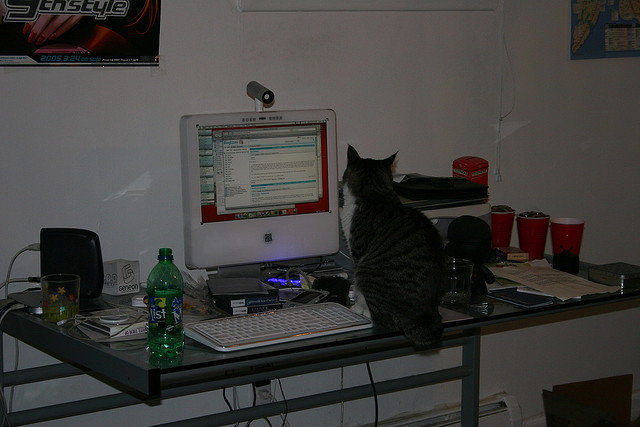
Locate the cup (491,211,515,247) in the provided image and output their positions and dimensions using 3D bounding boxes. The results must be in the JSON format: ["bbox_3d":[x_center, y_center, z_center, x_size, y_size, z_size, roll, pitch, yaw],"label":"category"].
[{"bbox_3d":[0.876,0.076,2.773,0.151,0.165,0.137,0,2,-7],"label":"cup"}]

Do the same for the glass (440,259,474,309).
[{"bbox_3d":[0.505,0.259,2.204,0.137,0.160,0.155,0,-4,25],"label":"glass"}]

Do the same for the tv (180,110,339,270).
[{"bbox_3d":[-0.247,-0.106,2.243,0.622,0.538,0.196,-4,10,-19],"label":"tv"}]

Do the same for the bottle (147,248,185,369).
[{"bbox_3d":[-0.485,0.281,1.768,0.117,0.322,0.263,-3,7,-14],"label":"bottle"}]

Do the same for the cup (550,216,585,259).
[{"bbox_3d":[1.125,0.115,2.622,0.184,0.204,0.194,1,-5,0],"label":"cup"}]

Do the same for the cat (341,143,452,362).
[{"bbox_3d":[0.199,0.067,2.218,0.325,0.462,0.943,-5,43,-14],"label":"cat"}]

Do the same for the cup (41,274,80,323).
[{"bbox_3d":[-0.885,0.285,1.954,0.149,0.165,0.150,0,1,0],"label":"cup"}]

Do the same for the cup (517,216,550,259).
[{"bbox_3d":[1.028,0.112,2.770,0.153,0.164,0.149,-2,-2,0],"label":"cup"}]

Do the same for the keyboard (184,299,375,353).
[{"bbox_3d":[-0.137,0.372,1.911,0.621,0.069,0.245,-3,7,-15],"label":"keyboard"}]
